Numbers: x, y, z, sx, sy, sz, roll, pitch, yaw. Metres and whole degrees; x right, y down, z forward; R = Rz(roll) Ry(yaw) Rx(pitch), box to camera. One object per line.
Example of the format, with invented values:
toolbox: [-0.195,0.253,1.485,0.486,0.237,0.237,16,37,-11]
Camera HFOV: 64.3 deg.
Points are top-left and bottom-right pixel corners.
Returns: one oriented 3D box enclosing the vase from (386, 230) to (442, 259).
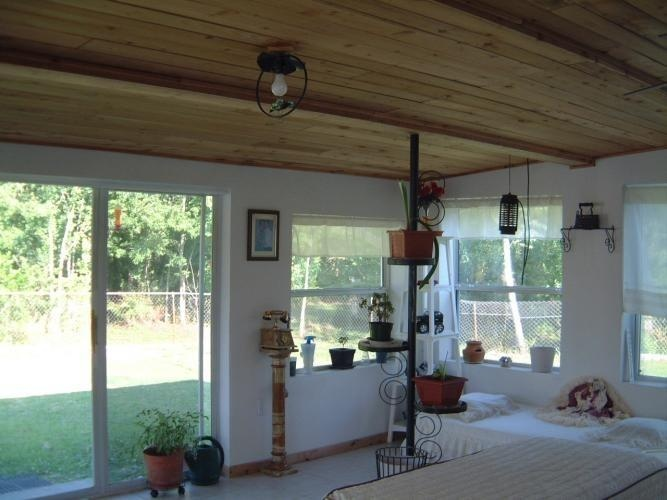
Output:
vase: [0.623,-0.008,3.784,0.376,0.208,0.289,4,-24,19]

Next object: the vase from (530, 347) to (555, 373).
vase: [2.121,1.094,5.413,0.254,0.245,0.242,-2,-7,45]

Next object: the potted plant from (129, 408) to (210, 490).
potted plant: [-1.442,1.728,4.837,0.719,0.801,0.616,0,3,5]

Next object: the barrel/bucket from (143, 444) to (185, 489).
barrel/bucket: [-1.441,1.873,4.644,0.371,0.276,0.311,2,-7,-11]

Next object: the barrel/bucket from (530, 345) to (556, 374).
barrel/bucket: [2.121,1.106,5.404,0.246,0.246,0.252,2,-4,0]

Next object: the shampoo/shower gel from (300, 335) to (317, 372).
shampoo/shower gel: [-0.279,1.111,5.780,0.179,0.351,0.157,-4,-9,18]

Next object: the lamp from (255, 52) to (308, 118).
lamp: [-0.269,-0.848,2.719,0.278,0.332,0.230,-3,2,28]

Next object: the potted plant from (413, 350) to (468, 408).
potted plant: [0.770,0.928,3.840,0.275,0.280,0.340,-3,-6,36]

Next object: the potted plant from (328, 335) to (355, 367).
potted plant: [0.126,1.133,6.013,0.222,0.354,0.334,-4,-4,39]

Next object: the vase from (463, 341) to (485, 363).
vase: [1.578,1.129,5.951,0.239,0.212,0.232,0,-9,9]

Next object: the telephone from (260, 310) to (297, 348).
telephone: [-0.543,0.735,5.245,0.341,0.403,0.435,1,0,41]
